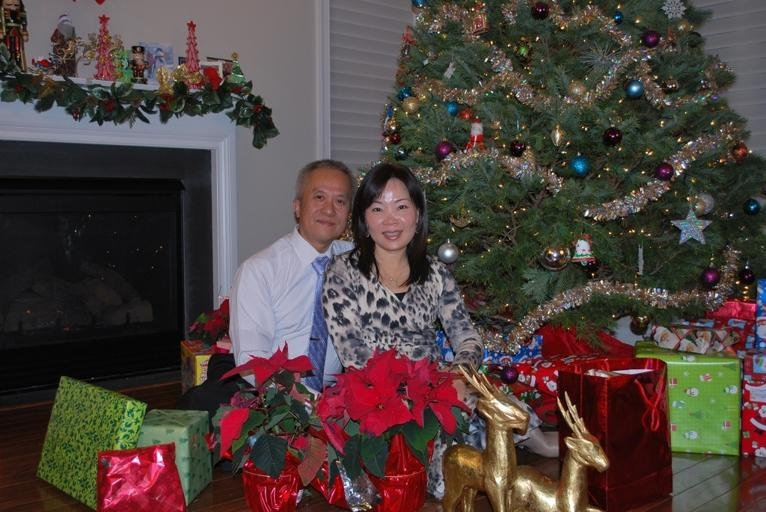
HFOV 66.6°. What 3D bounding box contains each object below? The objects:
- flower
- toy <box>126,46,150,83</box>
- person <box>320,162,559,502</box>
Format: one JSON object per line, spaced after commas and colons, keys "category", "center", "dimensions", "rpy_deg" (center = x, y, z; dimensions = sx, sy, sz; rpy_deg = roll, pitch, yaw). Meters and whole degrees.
{"category": "flower", "center": [-0.138, 0.450, 1.683], "dimensions": [0.541, 0.223, 0.418], "rpy_deg": [-7, 25, -21]}
{"category": "toy", "center": [-1.427, -1.110, 3.423], "dimensions": [0.076, 0.241, 0.122], "rpy_deg": [-3, -3, 34]}
{"category": "person", "center": [0.189, 0.265, 2.295], "dimensions": [0.750, 1.155, 0.858], "rpy_deg": [-11, 18, -32]}
